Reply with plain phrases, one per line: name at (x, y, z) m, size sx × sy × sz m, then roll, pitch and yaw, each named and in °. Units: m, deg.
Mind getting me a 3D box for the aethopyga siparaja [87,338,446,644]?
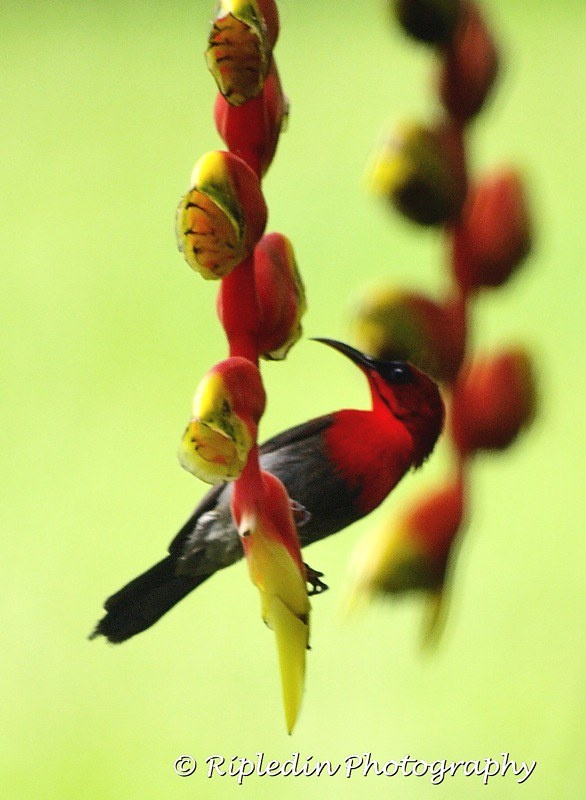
aethopyga siparaja at (-0.013, 0.049, 0.726) m, size 0.223 × 0.080 × 0.164 m, roll -7°, pitch 52°, yaw 5°
